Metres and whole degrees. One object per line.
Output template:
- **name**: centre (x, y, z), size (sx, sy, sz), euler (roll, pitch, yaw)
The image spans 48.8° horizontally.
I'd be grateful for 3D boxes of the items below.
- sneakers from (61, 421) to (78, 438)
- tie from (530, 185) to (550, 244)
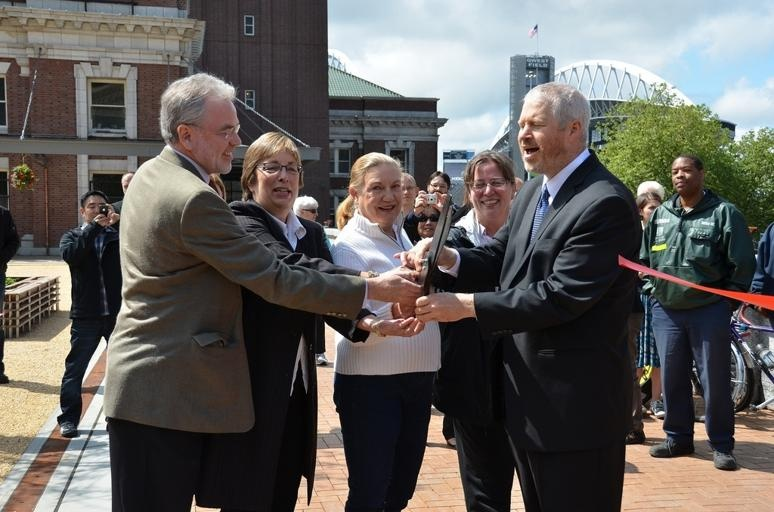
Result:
- **sneakers**: centre (-3.712, 2.018, 9.933), size (0.204, 0.163, 0.206), euler (-2, 5, -34)
- **tie**: centre (1.348, -0.390, 7.572), size (0.096, 0.729, 0.050), euler (7, -31, 19)
